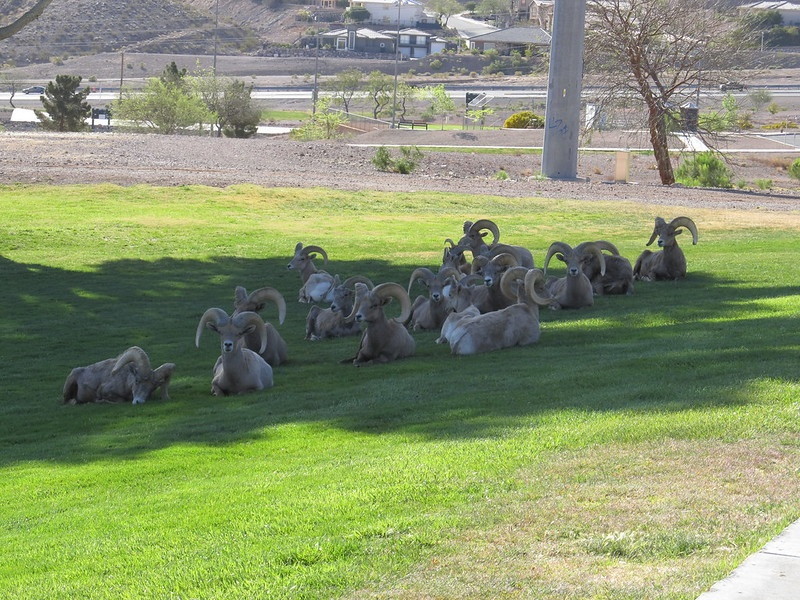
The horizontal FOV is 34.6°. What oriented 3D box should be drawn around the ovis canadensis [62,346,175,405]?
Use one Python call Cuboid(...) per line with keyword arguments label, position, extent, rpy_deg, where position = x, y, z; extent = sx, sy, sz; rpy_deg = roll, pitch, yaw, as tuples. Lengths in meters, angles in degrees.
Cuboid(label="ovis canadensis", position=(-5.474, 1.459, 24.776), extent=(2.138, 0.893, 1.008), rpy_deg=(-6, -6, 31))
